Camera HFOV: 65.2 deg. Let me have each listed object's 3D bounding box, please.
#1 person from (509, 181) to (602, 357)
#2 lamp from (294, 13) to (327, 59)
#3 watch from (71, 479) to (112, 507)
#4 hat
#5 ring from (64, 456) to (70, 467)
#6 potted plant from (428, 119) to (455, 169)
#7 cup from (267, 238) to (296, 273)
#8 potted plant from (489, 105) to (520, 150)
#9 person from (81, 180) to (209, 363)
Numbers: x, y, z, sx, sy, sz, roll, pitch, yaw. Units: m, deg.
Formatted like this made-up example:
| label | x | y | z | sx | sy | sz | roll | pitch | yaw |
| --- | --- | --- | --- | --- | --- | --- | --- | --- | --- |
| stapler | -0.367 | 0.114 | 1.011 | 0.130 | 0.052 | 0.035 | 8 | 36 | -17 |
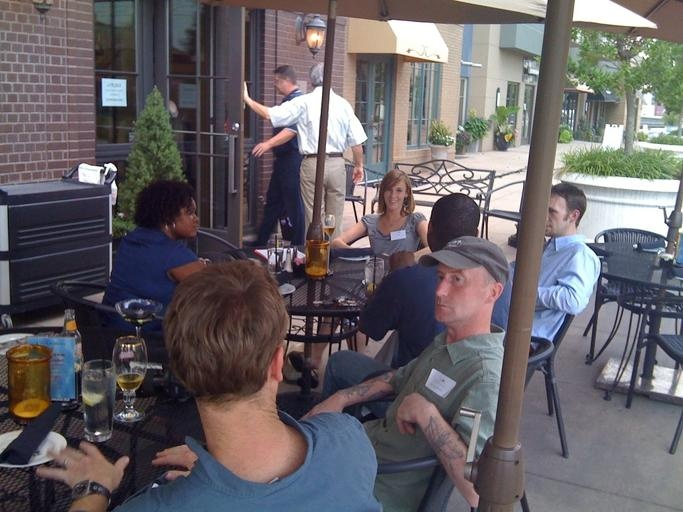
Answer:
| label | x | y | z | sx | sy | sz | roll | pitch | yaw |
| --- | --- | --- | --- | --- | --- | --- | --- | --- | --- |
| person | 1.478 | 0.046 | 3.474 | 0.363 | 0.994 | 0.791 | 7 | 11 | 25 |
| lamp | -0.486 | -3.467 | 8.118 | 0.431 | 0.881 | 0.308 | -1 | 9 | -30 |
| watch | -0.637 | 0.594 | 1.372 | 0.085 | 0.088 | 0.053 | 36 | 39 | -21 |
| hat | 0.509 | 0.039 | 2.150 | 0.263 | 0.134 | 0.183 | 9 | -5 | -11 |
| ring | -0.737 | 0.550 | 1.432 | 0.019 | 0.005 | 0.020 | -11 | 35 | 8 |
| potted plant | 2.934 | -3.437 | 16.260 | 0.757 | 1.321 | 0.812 | -1 | 10 | 9 |
| cup | -0.407 | 0.008 | 3.457 | 0.198 | 0.203 | 0.140 | 3 | 0 | 24 |
| potted plant | 7.172 | -5.690 | 23.794 | 1.576 | 2.068 | 1.271 | -14 | 21 | -41 |
| person | -1.134 | 0.128 | 3.246 | 0.732 | 1.216 | 0.621 | 6 | 11 | -25 |
